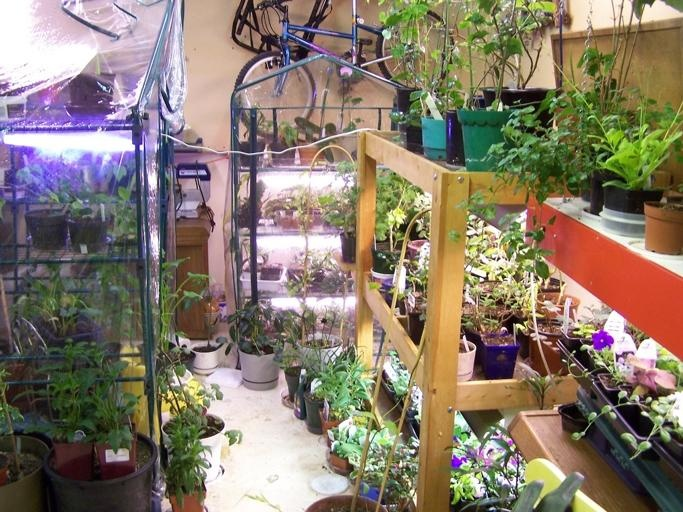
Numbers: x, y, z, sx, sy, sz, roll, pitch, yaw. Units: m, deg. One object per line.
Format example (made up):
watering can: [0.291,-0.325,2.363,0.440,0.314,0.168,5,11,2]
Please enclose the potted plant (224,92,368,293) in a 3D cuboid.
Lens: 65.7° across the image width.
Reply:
potted plant: [-0.476,-0.637,4.729,1.209,2.526,1.168,1,11,-11]
